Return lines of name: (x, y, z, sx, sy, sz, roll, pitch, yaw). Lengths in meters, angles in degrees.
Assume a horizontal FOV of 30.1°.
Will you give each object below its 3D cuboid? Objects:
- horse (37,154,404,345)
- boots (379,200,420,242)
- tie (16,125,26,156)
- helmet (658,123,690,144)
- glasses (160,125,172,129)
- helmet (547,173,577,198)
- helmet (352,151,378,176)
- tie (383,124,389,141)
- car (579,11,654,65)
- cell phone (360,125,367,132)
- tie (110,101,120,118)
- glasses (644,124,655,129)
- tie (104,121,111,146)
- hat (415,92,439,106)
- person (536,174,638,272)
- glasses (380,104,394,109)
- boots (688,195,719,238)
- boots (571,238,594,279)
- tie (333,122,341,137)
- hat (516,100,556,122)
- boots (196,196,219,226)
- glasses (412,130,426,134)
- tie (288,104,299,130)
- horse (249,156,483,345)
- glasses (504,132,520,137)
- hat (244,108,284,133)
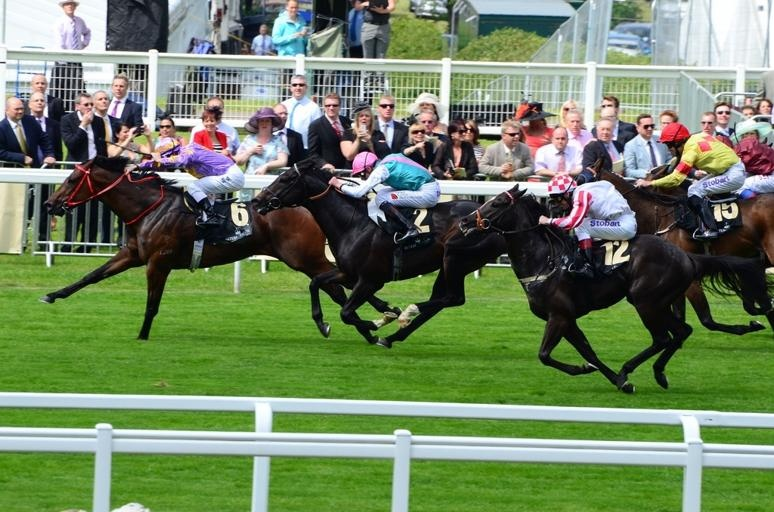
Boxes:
horse: (-1.771, -0.186, 14.525, 3.628, 1.408, 0.730, 1, 0, -30)
boots: (0.144, -0.348, 13.814, 0.312, 0.450, 0.151, -52, -1, -39)
tie: (-4.139, -1.338, 16.334, 0.179, 0.346, 0.049, -2, 7, -44)
helmet: (2.815, -1.204, 14.074, 0.293, 0.204, 0.321, 4, 5, 18)
glasses: (-2.367, -1.394, 15.499, 0.129, 0.036, 0.089, 1, 5, -16)
helmet: (1.578, -0.642, 12.997, 0.257, 0.111, 0.164, -10, 13, 0)
helmet: (-0.254, -0.923, 14.462, 0.277, 0.140, 0.186, -20, 32, 37)
tie: (-0.002, -1.364, 15.813, 0.048, 0.191, 0.113, -9, -10, 9)
car: (4.024, -3.640, 24.140, 0.907, 0.603, 1.827, 4, 15, 18)
cell phone: (-0.235, -1.345, 15.122, 0.072, 0.049, 0.093, -1, 2, 3)
tie: (-3.163, -1.716, 16.813, 0.118, 0.193, 0.343, 2, 5, -17)
glasses: (2.867, -1.412, 15.598, 0.126, 0.050, 0.054, -2, 7, -43)
tie: (-3.148, -1.410, 16.293, 0.095, 0.276, 0.188, 2, 5, -11)
hat: (0.486, -1.838, 16.773, 0.272, 0.075, 0.257, 0, 2, -14)
person: (1.845, -0.324, 13.284, 1.085, 0.888, 0.739, 2, 2, 12)
glasses: (0.011, -1.618, 15.543, 0.156, 0.053, 0.108, 2, 5, -10)
boots: (3.144, -0.404, 14.228, 0.292, 0.389, 0.150, -1, 3, 33)
boots: (1.774, 0.017, 12.938, 0.208, 0.327, 0.151, 5, 5, 19)
tie: (-0.549, -1.407, 15.900, 0.110, 0.156, 0.040, -10, -16, -35)
hat: (1.680, -1.647, 16.431, 0.355, 0.227, 0.464, 3, 5, -2)
boots: (-1.737, -0.442, 14.058, 0.222, 0.262, 0.100, 2, 5, -7)
glasses: (0.366, -1.288, 14.892, 0.091, 0.043, 0.211, 5, 6, 26)
tie: (-1.096, -1.635, 16.879, 0.070, 0.212, 0.226, 1, 16, -10)
horse: (-0.023, 0.012, 14.295, 3.029, 1.624, 0.656, 0, -2, -36)
glasses: (1.409, -1.336, 15.762, 0.099, 0.052, 0.197, 7, 7, 40)
hat: (-1.273, -1.420, 15.010, 0.321, 0.147, 0.308, -2, -12, 6)
